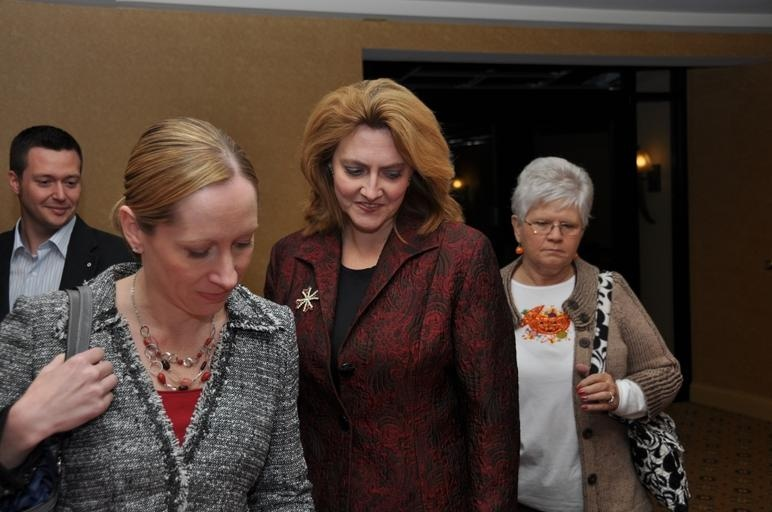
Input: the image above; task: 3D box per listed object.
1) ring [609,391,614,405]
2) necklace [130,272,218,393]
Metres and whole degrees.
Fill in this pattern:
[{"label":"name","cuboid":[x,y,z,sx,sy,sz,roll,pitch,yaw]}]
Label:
[{"label":"ring","cuboid":[1.047,0.659,3.305,0.015,0.045,0.033,14,6,-5]},{"label":"necklace","cuboid":[-0.754,0.287,2.526,0.260,0.419,0.092,-9,-8,-24]}]
